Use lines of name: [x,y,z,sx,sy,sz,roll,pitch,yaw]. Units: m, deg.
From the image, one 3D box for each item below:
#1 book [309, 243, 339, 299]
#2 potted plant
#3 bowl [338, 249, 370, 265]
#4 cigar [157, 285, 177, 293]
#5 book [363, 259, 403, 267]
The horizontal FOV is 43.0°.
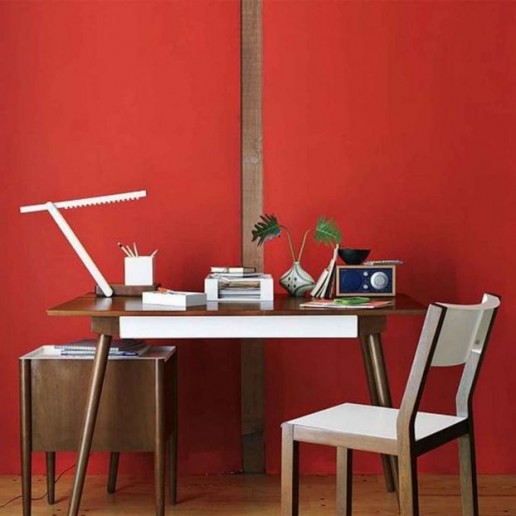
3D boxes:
book: [0.240,0.054,2.420,0.102,0.176,0.129,-1,1,4]
potted plant: [0.161,-0.019,2.542,0.356,0.290,0.147,2,0,-22]
bowl: [0.358,-0.010,2.460,0.117,0.064,0.111,-1,1,0]
cigar: [-0.348,0.114,2.470,0.018,0.013,0.115,-12,8,-27]
book: [0.472,0.015,2.482,0.122,0.027,0.023,5,4,-1]
